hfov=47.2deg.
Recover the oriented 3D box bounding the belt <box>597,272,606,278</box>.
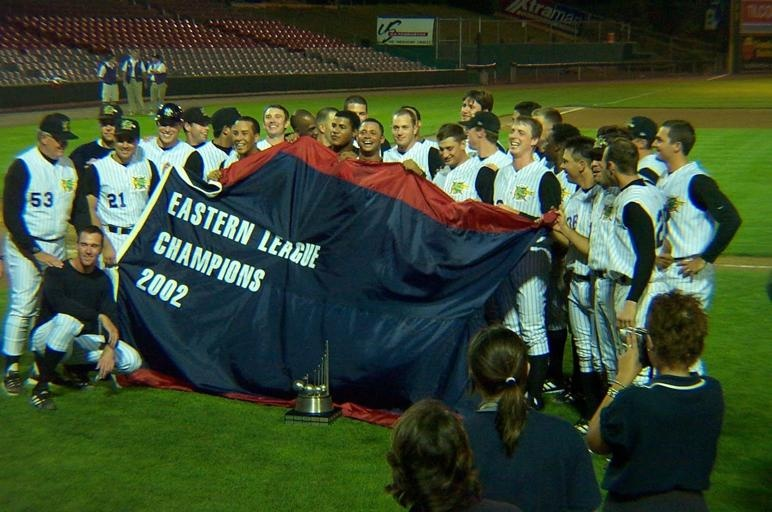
[{"bbox_3d":[2.291,0.210,9.352,0.050,0.039,0.113,-3,4,-15],"label":"belt"}]

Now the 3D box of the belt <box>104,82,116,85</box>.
[{"bbox_3d":[-9.512,-5.949,30.481,0.201,0.096,0.476,3,8,19],"label":"belt"}]

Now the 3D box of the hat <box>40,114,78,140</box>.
[{"bbox_3d":[-3.961,-1.532,10.506,0.436,0.222,0.318,13,16,-1],"label":"hat"}]

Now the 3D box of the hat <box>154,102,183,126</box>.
[{"bbox_3d":[-2.954,-1.908,11.975,0.287,0.190,0.383,4,11,-16],"label":"hat"}]

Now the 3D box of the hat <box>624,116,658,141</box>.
[{"bbox_3d":[3.048,-1.508,10.536,0.347,0.255,0.247,22,17,8],"label":"hat"}]

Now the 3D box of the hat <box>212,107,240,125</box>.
[{"bbox_3d":[-2.205,-1.952,12.252,0.359,0.173,0.235,-17,22,-29],"label":"hat"}]

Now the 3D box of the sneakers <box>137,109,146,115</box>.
[{"bbox_3d":[-8.761,-5.120,31.455,0.151,0.127,0.442,-28,29,-23],"label":"sneakers"}]

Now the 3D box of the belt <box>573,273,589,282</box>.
[{"bbox_3d":[2.160,0.250,9.729,0.194,0.078,0.036,5,9,33],"label":"belt"}]

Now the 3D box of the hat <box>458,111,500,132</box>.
[{"bbox_3d":[1.221,-1.707,11.203,0.383,0.182,0.264,4,14,9],"label":"hat"}]

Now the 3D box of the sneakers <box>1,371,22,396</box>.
[{"bbox_3d":[-4.325,1.485,10.172,0.198,0.296,0.160,-10,-7,-21],"label":"sneakers"}]

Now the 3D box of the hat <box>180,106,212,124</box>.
[{"bbox_3d":[-2.707,-1.990,12.502,0.321,0.162,0.226,-4,22,-17],"label":"hat"}]

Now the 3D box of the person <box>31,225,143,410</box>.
[{"bbox_3d":[-3.508,0.654,10.137,1.131,1.982,0.758,-2,8,-18],"label":"person"}]
